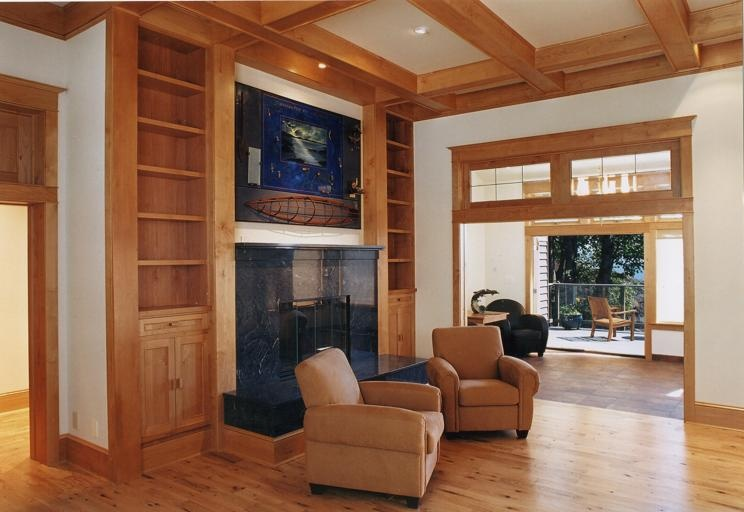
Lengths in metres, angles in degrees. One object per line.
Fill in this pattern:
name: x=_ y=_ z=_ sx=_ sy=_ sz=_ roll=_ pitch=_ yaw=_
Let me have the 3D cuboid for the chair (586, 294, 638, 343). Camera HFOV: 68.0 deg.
chair: x=4.735 y=1.224 z=10.889 sx=0.828 sy=0.758 sz=0.863 roll=0 pitch=0 yaw=45

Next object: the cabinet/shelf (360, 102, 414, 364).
cabinet/shelf: x=0.294 y=-0.318 z=8.203 sx=0.710 sy=3.745 sz=1.619 roll=1 pitch=11 yaw=12

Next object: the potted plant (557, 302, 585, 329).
potted plant: x=4.141 y=1.266 z=11.478 sx=0.525 sy=0.328 sz=0.511 roll=0 pitch=-5 yaw=20

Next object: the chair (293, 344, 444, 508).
chair: x=-0.016 y=1.551 z=5.212 sx=1.282 sy=1.204 sz=0.830 roll=2 pitch=11 yaw=14

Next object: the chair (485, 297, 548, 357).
chair: x=2.782 y=1.313 z=10.366 sx=1.019 sy=1.081 sz=1.118 roll=1 pitch=-7 yaw=-20

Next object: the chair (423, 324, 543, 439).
chair: x=1.237 y=1.385 z=6.321 sx=1.202 sy=0.969 sz=0.850 roll=0 pitch=10 yaw=4
